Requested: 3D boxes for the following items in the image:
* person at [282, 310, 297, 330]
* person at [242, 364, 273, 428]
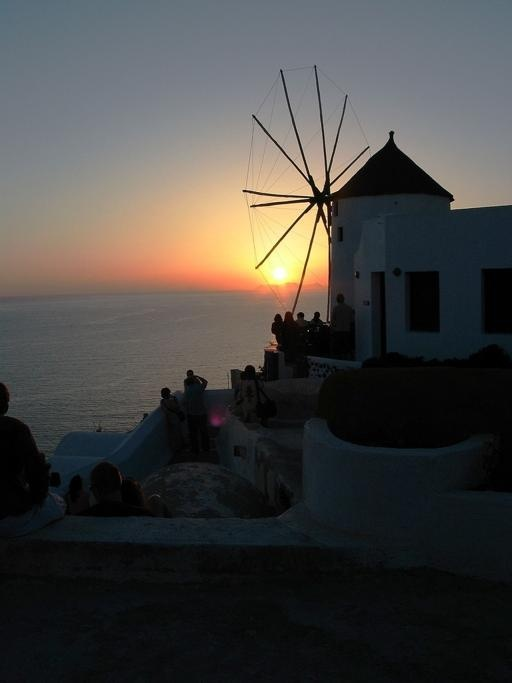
[{"bbox_3d":[1.029,-0.717,21.595,0.428,0.544,0.716,-2,5,3],"label":"person"},{"bbox_3d":[0.003,1.055,13.441,0.608,1.316,1.291,-3,5,-2],"label":"person"}]
